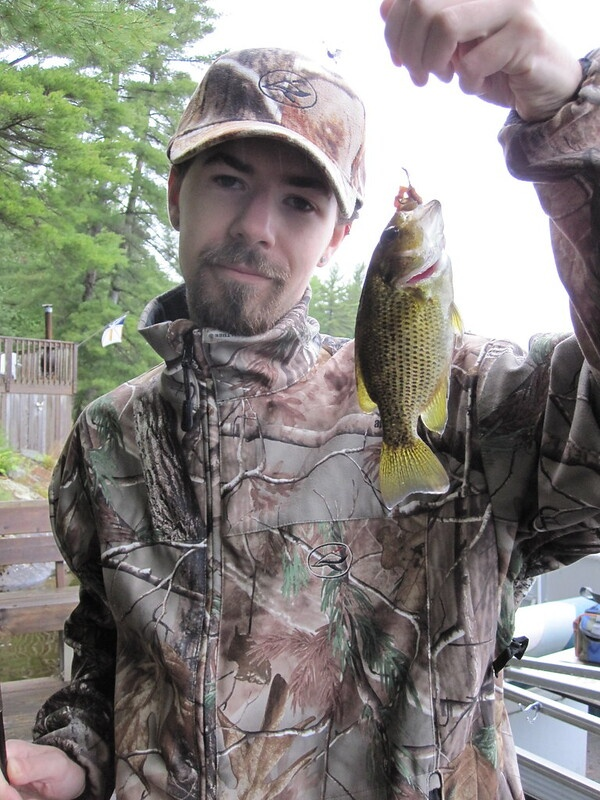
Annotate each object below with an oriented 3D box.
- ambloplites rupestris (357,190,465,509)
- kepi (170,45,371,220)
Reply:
[{"bbox_3d":[0.162,-0.075,1.173,0.164,0.420,0.281,3,-1,11],"label":"ambloplites rupestris"},{"bbox_3d":[-0.053,-0.609,1.687,0.440,0.260,0.543,10,12,-9],"label":"kepi"}]
